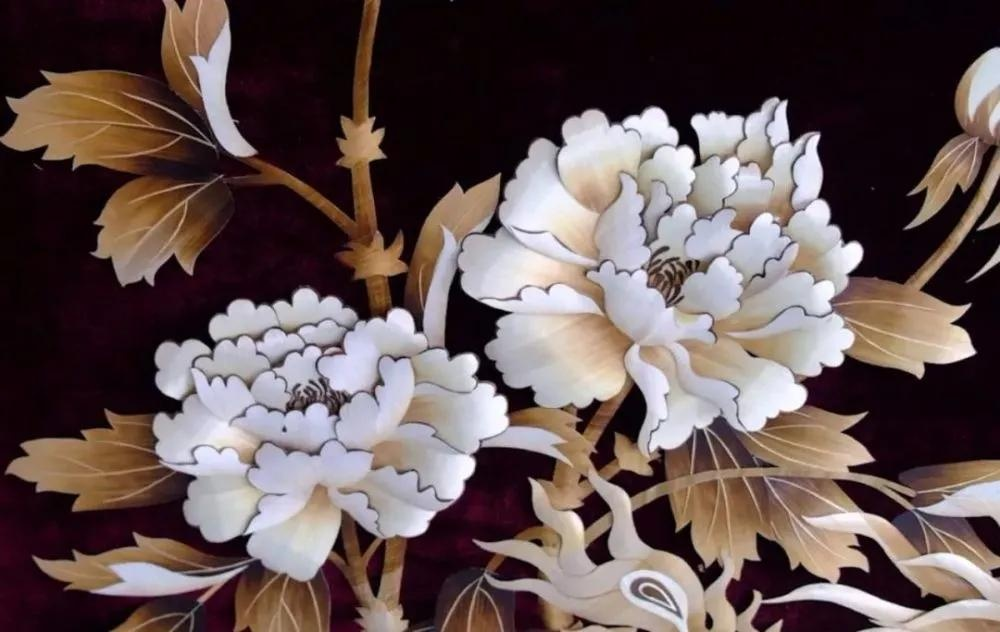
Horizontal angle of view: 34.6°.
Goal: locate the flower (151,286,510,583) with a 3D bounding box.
[{"bbox_3d":[-0.225,0.149,2.146,0.463,0.320,0.207,-4,36,-8],"label":"flower"}]
